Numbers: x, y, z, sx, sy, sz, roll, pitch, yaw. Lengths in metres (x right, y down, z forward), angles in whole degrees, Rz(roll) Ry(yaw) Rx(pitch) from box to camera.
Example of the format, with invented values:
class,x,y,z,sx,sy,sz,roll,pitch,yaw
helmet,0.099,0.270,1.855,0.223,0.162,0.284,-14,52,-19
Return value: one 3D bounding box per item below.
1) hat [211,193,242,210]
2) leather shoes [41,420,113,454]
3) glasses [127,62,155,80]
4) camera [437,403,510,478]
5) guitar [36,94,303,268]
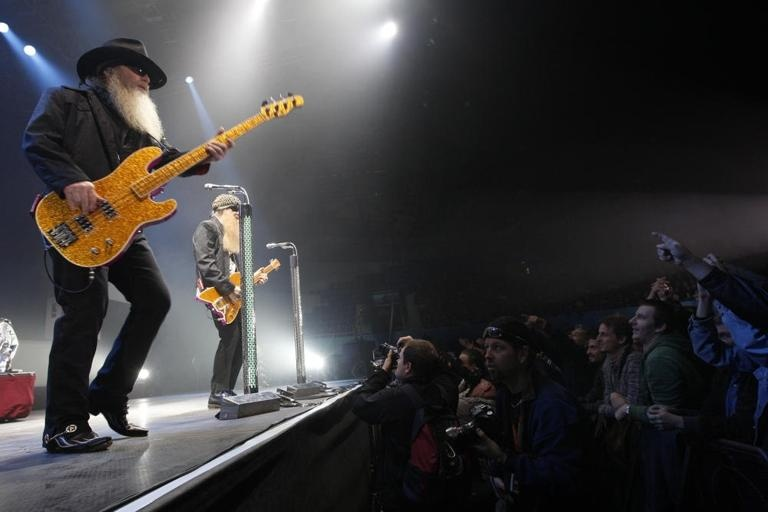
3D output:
class,x,y,z,sx,sy,sz,roll,pitch,yaw
hat,-1.771,-0.635,5.332,0.356,0.138,0.285,-10,-1,5
leather shoes,-1.925,1.117,2.968,0.463,0.157,0.175,-2,-14,13
glasses,-1.877,-1.416,3.635,0.096,0.024,0.091,0,-28,28
camera,0.867,1.466,4.022,0.361,0.309,0.403,10,-2,-44
guitar,-2.147,-0.900,5.084,3.000,0.876,0.412,-39,7,-35
